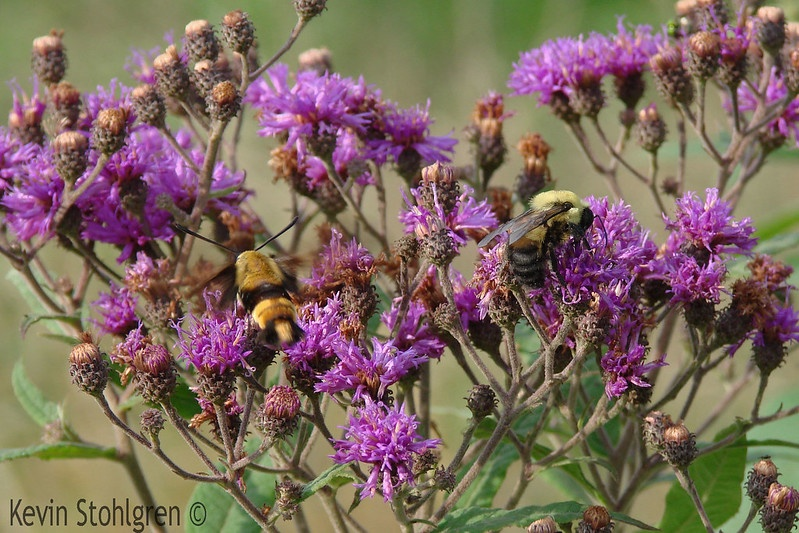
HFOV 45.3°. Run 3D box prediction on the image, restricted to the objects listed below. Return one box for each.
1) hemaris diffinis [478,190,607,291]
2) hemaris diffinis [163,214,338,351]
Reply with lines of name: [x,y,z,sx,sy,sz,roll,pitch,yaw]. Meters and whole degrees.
hemaris diffinis: [0.586,-0.147,3.805,0.317,0.189,0.447,-7,21,38]
hemaris diffinis: [-0.565,0.092,3.922,0.460,0.280,0.531,-7,8,-16]
